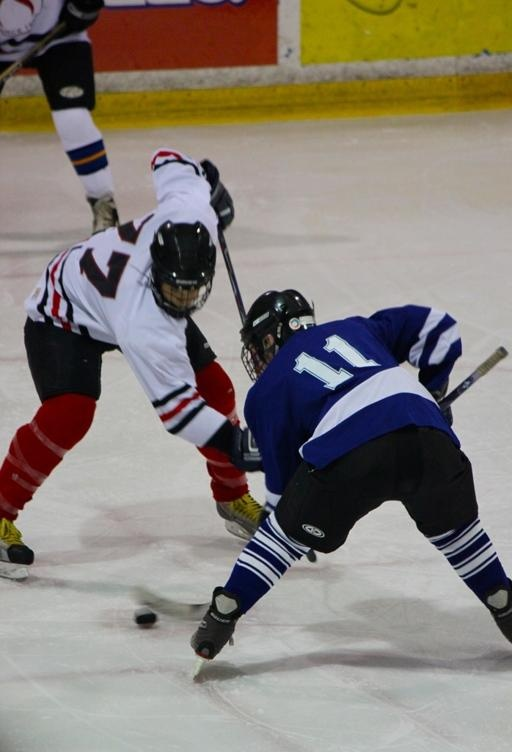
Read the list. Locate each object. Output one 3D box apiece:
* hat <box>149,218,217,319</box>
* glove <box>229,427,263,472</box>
[{"bbox_3d":[-0.217,-0.265,2.127,0.204,0.227,0.219,-4,52,-13],"label":"hat"},{"bbox_3d":[-0.029,0.181,2.101,0.087,0.102,0.097,3,68,-2],"label":"glove"}]
